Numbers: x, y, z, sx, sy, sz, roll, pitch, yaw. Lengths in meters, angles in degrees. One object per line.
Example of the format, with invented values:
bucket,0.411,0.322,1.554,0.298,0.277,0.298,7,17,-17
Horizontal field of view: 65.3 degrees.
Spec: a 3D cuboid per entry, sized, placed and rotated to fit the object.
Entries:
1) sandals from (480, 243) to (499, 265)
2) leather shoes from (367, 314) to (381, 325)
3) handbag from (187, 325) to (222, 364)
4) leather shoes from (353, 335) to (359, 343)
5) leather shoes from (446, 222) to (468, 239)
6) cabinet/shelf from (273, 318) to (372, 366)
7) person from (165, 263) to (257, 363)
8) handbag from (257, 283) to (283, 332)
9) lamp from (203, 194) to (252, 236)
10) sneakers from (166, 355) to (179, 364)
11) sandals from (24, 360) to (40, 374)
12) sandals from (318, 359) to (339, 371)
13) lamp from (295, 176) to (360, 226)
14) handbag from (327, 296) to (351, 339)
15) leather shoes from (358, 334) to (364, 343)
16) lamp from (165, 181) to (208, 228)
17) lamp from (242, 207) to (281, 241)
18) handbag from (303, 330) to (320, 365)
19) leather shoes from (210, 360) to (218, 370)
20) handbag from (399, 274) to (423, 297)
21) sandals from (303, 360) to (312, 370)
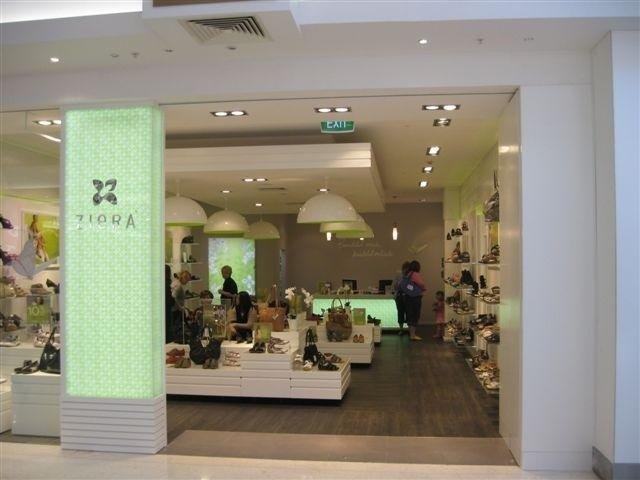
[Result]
sandals,2.587,0.228,7.518,0.218,0.293,0.629,0,0,11
leather shoes,1.200,1.849,11.517,0.202,0.227,0.590,-2,-10,15
handbag,-1.789,1.650,7.829,0.477,0.519,0.239,-2,-16,-3
leather shoes,0.694,1.937,9.787,0.078,0.073,0.213,0,4,6
leather shoes,3.189,-0.188,11.517,0.203,0.267,0.686,-3,-11,4
cabinet/shelf,0.180,2.135,10.374,2.065,0.713,2.169,-6,-9,17
person,-2.066,1.340,9.161,1.534,2.108,1.162,2,2,15
handbag,-0.843,1.176,8.592,0.452,0.765,1.034,0,0,-5
lamp,-1.952,-0.449,9.919,0.952,1.004,0.949,-1,-6,1
sneakers,-2.310,1.868,7.807,0.231,0.093,0.264,1,1,-5
sandals,-3.597,1.582,6.229,0.203,0.072,0.151,-1,-4,27
sandals,0.111,1.859,7.429,0.264,0.102,0.128,0,2,4
lamp,0.089,-0.568,7.657,0.714,0.399,0.716,-2,-1,29
handbag,0.362,1.591,9.796,0.719,1.001,0.559,0,-8,0
leather shoes,0.796,1.934,9.833,0.090,0.064,0.229,0,5,2
lamp,-2.097,-0.507,8.209,0.734,0.755,0.715,-2,-9,-3
lamp,-1.326,-0.349,11.712,0.693,0.448,0.681,0,-5,0
handbag,-0.143,1.643,7.533,0.248,0.578,0.208,0,-6,-1
leather shoes,-1.603,1.876,7.534,0.124,0.116,0.118,7,-2,-29
handbag,2.294,1.176,12.685,0.565,0.565,0.333,8,9,27
sandals,-0.188,1.867,7.421,0.082,0.084,0.141,0,2,13
